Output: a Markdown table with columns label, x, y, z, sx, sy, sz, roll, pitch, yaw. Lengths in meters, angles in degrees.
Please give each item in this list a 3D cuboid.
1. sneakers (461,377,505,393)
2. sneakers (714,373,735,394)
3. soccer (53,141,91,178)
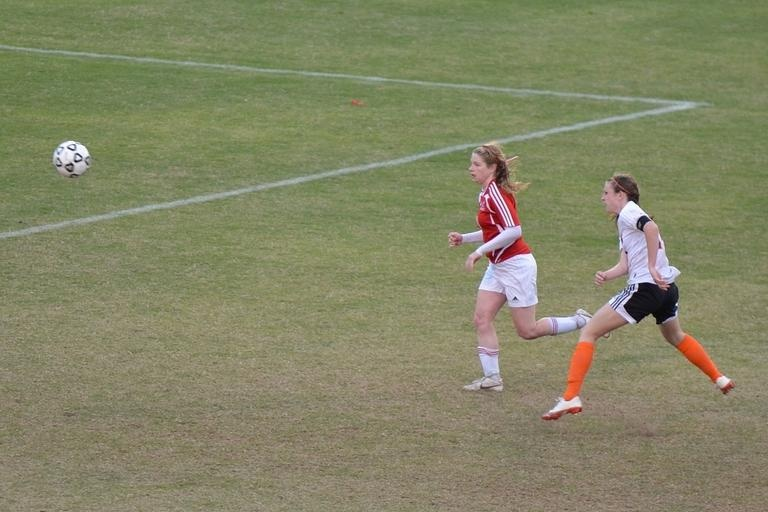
| label | x | y | z | sx | sy | sz | roll | pitch | yaw |
| --- | --- | --- | --- | --- | --- | --- | --- | --- | --- |
| sneakers | 1.554 | 1.969 | 28.216 | 0.726 | 0.181 | 0.219 | 1 | 5 | 1 |
| sneakers | 5.136 | 1.935 | 27.965 | 0.199 | 0.258 | 0.350 | -46 | 27 | -7 |
| soccer | -5.589 | -1.721 | 32.708 | 0.647 | 0.580 | 0.531 | 28 | 28 | -3 |
